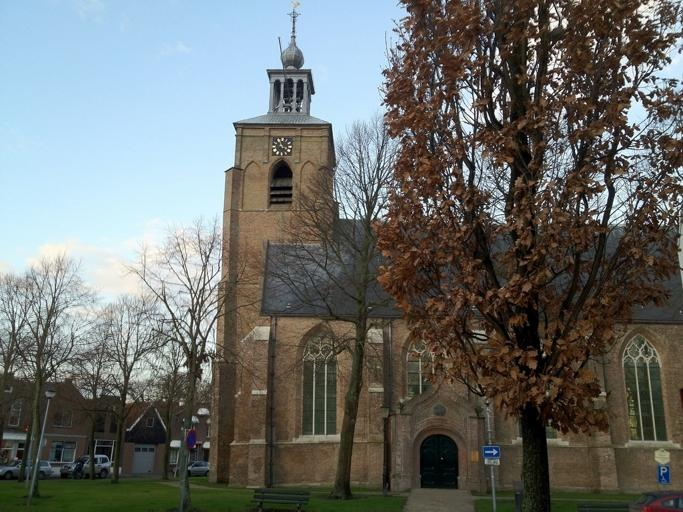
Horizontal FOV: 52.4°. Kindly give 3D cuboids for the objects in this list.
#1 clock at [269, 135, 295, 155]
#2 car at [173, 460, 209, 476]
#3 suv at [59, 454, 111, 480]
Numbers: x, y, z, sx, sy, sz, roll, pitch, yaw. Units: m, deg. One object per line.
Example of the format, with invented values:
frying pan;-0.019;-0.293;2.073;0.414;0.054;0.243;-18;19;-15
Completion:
clock;-3.844;-7.103;44.831;1.381;1.358;0.153;2;-24;-4
car;-11.854;17.576;57.335;1.619;1.333;5.883;4;-19;-11
suv;-19.577;16.134;53.142;3.208;1.708;3.996;3;-18;-9
